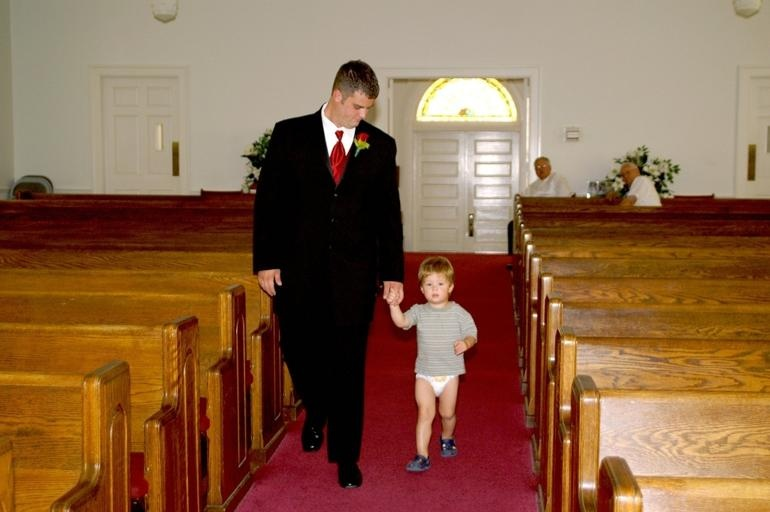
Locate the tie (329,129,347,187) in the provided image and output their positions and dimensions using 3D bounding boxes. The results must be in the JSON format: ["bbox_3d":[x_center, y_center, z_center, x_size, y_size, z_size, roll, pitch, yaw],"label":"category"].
[{"bbox_3d":[-0.241,-0.506,3.237,0.091,0.262,0.095,-4,15,-20],"label":"tie"}]

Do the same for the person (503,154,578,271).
[{"bbox_3d":[2.146,-0.619,9.065,1.036,1.623,0.977,6,4,19],"label":"person"}]

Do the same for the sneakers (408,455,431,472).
[{"bbox_3d":[0.184,1.183,3.642,0.073,0.054,0.129,-2,-9,31],"label":"sneakers"}]
